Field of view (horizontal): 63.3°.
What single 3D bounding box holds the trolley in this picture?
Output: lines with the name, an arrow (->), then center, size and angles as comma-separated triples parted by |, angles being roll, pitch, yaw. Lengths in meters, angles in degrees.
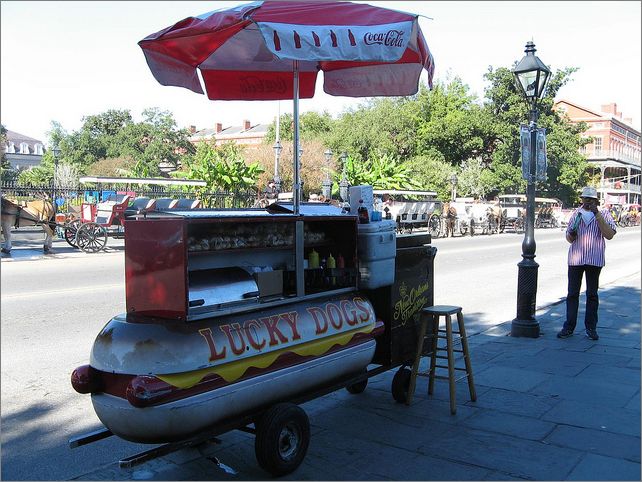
trolley -> -0.929, 0.689, 5.732 | 1.681, 2.675, 4.584 | 2, 5, 41

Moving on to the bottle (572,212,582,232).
bottle -> 4.140, -0.298, 8.424 | 0.091, 0.369, 0.088 | 20, 0, 0

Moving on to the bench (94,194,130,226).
bench -> -7.378, -1.083, 18.437 | 0.984, 1.123, 1.652 | -1, 2, -42

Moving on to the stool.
stool -> 1.444, 1.354, 6.147 | 0.814, 1.112, 0.811 | 3, -3, -25

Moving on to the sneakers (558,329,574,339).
sneakers -> 4.017, 1.520, 8.530 | 0.304, 0.126, 0.117 | 8, -7, -41

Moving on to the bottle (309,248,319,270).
bottle -> -0.069, 0.215, 5.746 | 0.141, 0.265, 0.143 | 0, 5, 0

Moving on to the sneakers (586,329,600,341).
sneakers -> 4.394, 1.512, 8.390 | 0.094, 0.107, 0.235 | -3, -2, 14

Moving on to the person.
person -> 4.301, 0.355, 8.441 | 0.830, 2.438, 0.659 | -5, 8, -38
